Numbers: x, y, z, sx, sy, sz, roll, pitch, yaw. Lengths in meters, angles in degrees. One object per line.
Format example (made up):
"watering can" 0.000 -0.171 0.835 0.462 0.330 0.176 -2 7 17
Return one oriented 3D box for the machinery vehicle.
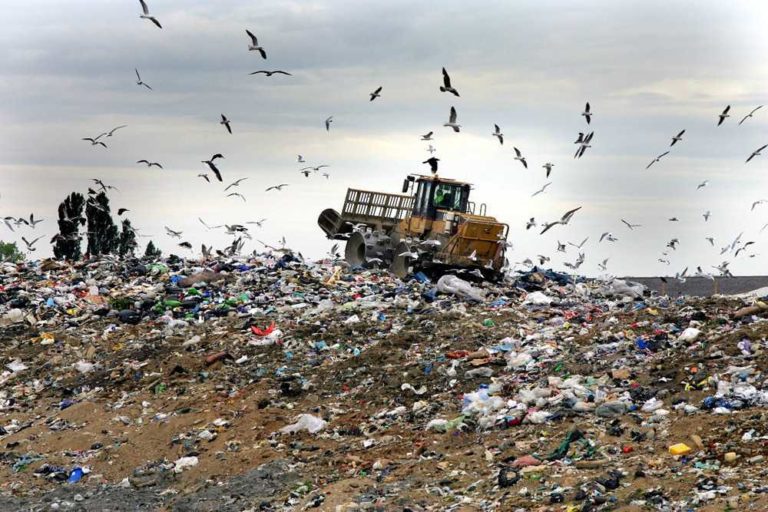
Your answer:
"machinery vehicle" 0.925 -0.791 20.263 3.239 1.699 4.322 -4 10 -30
